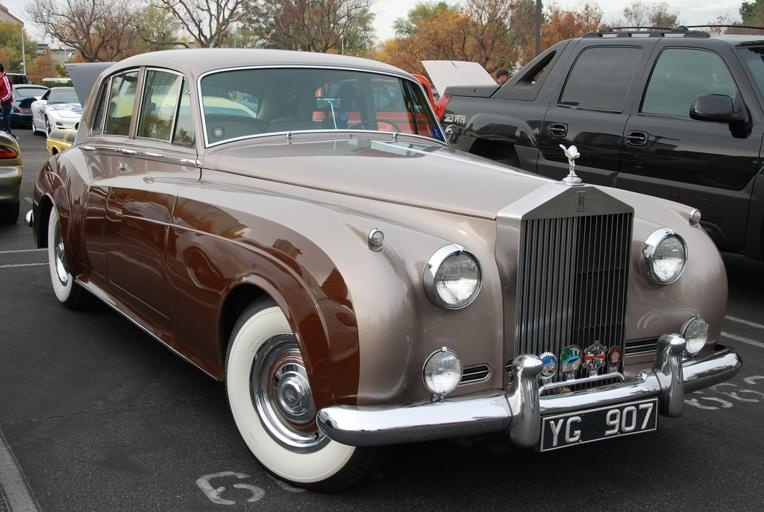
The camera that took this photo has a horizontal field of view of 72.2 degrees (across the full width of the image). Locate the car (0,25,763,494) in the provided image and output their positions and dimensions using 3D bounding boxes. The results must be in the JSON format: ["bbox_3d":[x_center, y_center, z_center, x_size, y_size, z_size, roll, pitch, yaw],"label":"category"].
[{"bbox_3d":[-0.221,-0.232,3.553,4.469,2.352,2.202,14,21,37],"label":"car"}]
